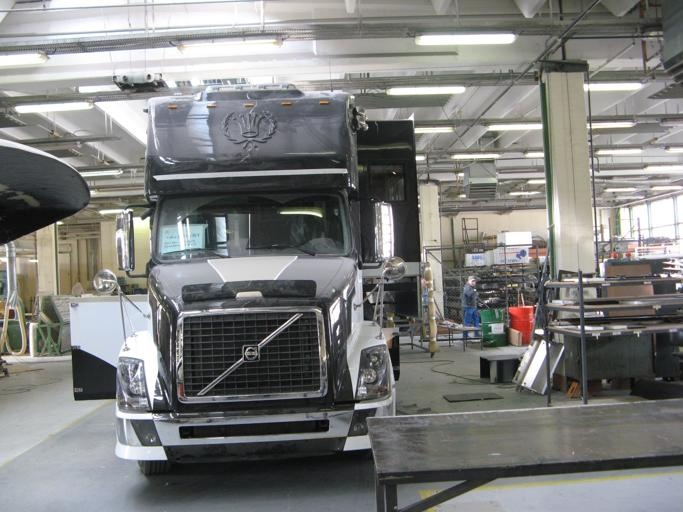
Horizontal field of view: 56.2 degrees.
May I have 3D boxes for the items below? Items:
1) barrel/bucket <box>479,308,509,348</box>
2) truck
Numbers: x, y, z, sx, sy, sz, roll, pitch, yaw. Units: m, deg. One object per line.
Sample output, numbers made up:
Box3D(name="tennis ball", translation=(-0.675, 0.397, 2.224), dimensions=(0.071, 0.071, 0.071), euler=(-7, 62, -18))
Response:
Box3D(name="barrel/bucket", translation=(4.231, 1.990, 17.689), dimensions=(0.978, 1.058, 0.976), euler=(-2, -5, 0))
Box3D(name="truck", translation=(-1.181, 0.400, 10.261), dimensions=(2.731, 3.310, 6.342), euler=(-1, -4, -3))
